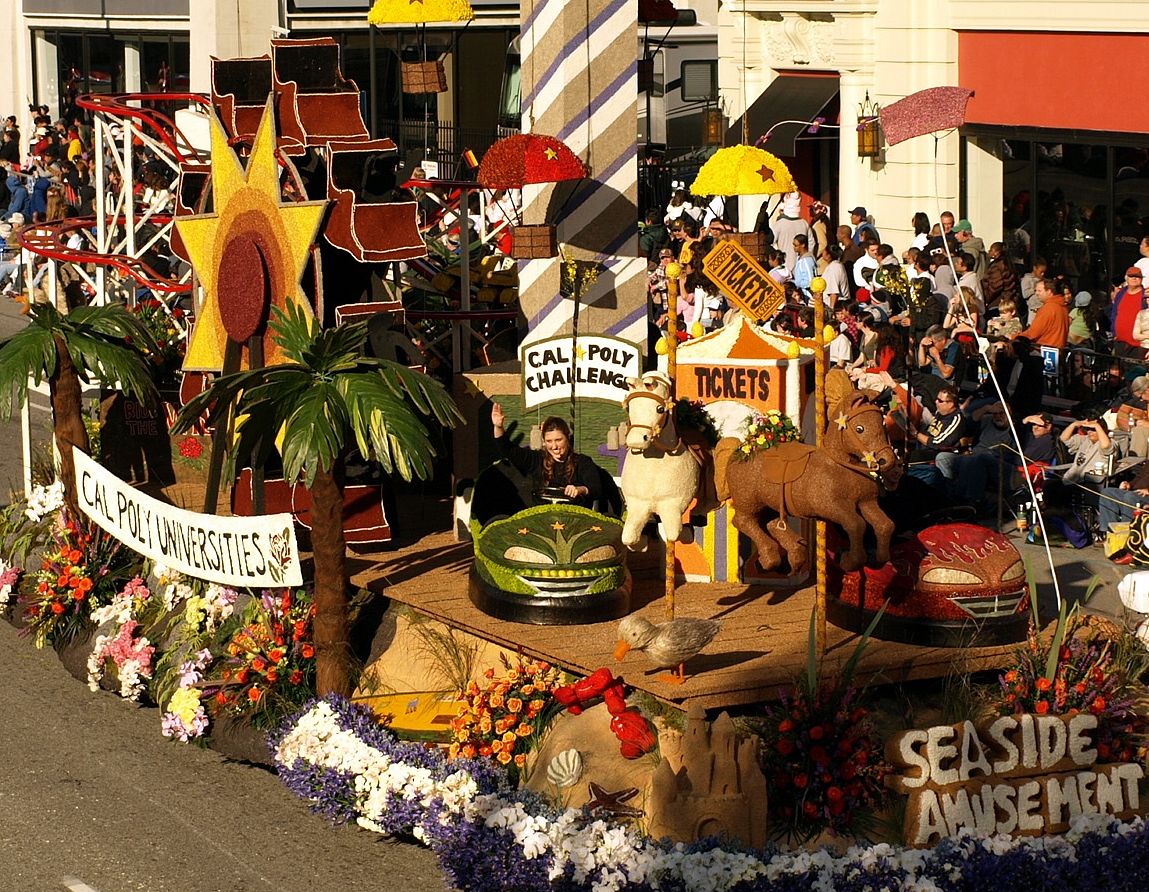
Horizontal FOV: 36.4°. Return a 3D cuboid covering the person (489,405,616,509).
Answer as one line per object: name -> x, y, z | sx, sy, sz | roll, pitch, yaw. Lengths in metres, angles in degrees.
person -> -0.178, 0.123, 14.297 | 0.625, 1.059, 0.915 | -1, -3, 5
